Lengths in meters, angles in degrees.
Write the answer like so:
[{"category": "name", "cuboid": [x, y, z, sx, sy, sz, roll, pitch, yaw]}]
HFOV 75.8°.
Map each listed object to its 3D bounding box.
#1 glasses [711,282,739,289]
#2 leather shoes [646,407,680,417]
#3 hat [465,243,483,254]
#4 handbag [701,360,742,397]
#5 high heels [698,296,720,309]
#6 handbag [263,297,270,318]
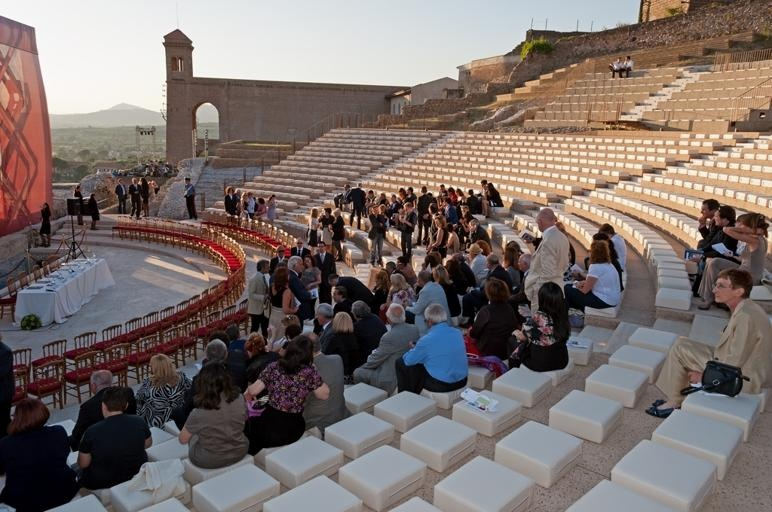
[{"category": "glasses", "cuboid": [4.187, 0.364, 6.090, 0.202, 0.055, 0.200, 2, -1, 13]}, {"category": "leather shoes", "cuboid": [3.517, 1.971, 6.308, 0.315, 0.089, 0.135, -2, 9, 6]}, {"category": "hat", "cuboid": [1.892, -0.125, 10.746, 0.237, 0.106, 0.251, -9, 18, -4]}, {"category": "handbag", "cuboid": [4.026, 1.467, 5.914, 0.235, 0.402, 0.407, 3, 3, -25]}, {"category": "high heels", "cuboid": [5.712, 0.835, 8.742, 0.459, 0.188, 0.163, -1, 4, -22]}, {"category": "handbag", "cuboid": [-2.721, 1.203, 11.221, 0.101, 0.393, 0.273, 4, 5, -9]}]
